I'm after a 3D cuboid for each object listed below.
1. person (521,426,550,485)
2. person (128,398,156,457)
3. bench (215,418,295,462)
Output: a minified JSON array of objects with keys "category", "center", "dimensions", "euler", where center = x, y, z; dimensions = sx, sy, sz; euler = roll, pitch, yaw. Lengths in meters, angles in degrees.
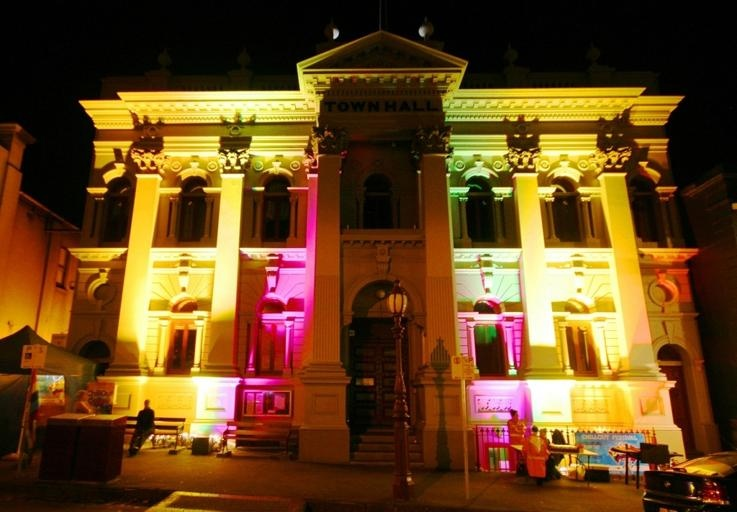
[{"category":"person","center":[5.947,6.961,20.802],"dimensions":[0.987,1.881,0.676],"euler":[2,4,15]},{"category":"person","center":[-9.093,6.858,23.703],"dimensions":[0.806,2.166,1.521],"euler":[6,-19,-12]},{"category":"bench","center":[-4.501,7.523,24.348],"dimensions":[3.171,1.412,2.247],"euler":[2,-18,-4]}]
